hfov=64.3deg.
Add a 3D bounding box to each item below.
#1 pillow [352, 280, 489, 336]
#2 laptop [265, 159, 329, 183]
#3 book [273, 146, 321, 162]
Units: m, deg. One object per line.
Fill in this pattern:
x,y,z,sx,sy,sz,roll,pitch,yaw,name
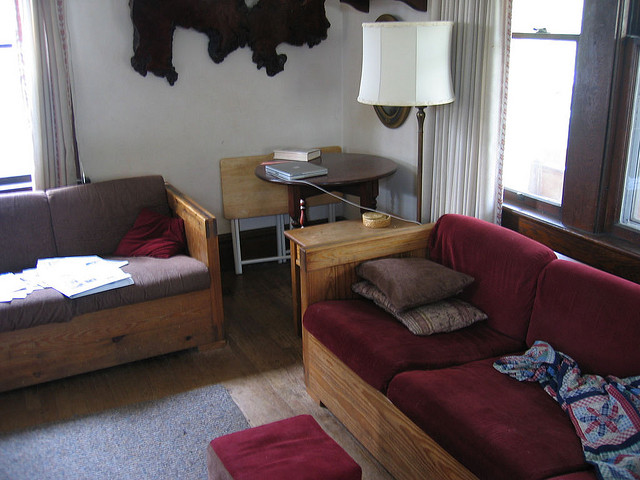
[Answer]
0.482,0.267,2.620,0.563,0.205,0.596,-5,20,-25,pillow
-0.168,-0.482,3.476,0.363,0.057,0.454,-12,23,-26,laptop
-0.164,-0.625,3.764,0.343,0.070,0.268,-2,20,-1,book
